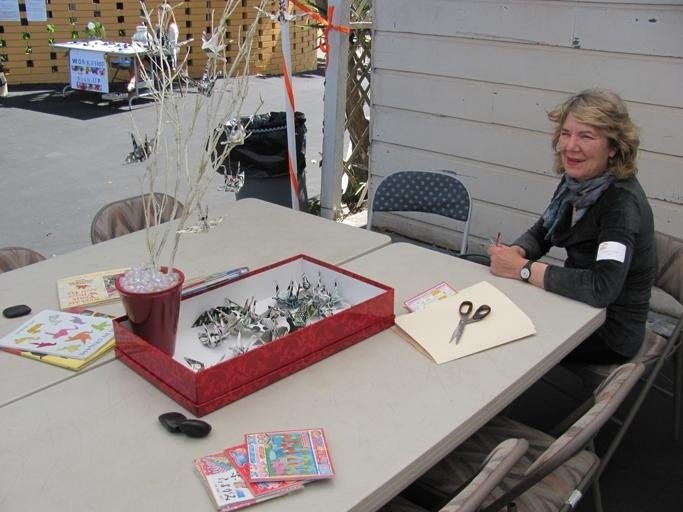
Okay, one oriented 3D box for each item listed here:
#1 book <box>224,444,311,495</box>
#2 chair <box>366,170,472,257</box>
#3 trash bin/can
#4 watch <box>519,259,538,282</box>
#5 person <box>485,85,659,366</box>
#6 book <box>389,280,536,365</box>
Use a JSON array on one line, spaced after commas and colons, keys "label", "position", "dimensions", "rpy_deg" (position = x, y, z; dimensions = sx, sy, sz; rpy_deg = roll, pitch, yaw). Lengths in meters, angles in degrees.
[{"label": "book", "position": [-0.188, 0.491, 1.130], "dimensions": [0.151, 0.176, 0.016], "rpy_deg": [-14, 29, 4]}, {"label": "chair", "position": [0.472, -0.396, 2.903], "dimensions": [0.431, 0.816, 0.540], "rpy_deg": [11, 30, 17]}, {"label": "trash bin/can", "position": [-0.649, -0.820, 4.069], "dimensions": [0.716, 0.811, 0.526], "rpy_deg": [-4, 22, -17]}, {"label": "watch", "position": [0.762, 0.071, 1.897], "dimensions": [0.046, 0.085, 0.079], "rpy_deg": [16, 12, 43]}, {"label": "person", "position": [1.012, -0.012, 2.151], "dimensions": [0.706, 1.401, 0.691], "rpy_deg": [-2, 11, -10]}, {"label": "book", "position": [0.439, 0.233, 1.632], "dimensions": [0.302, 0.042, 0.252], "rpy_deg": [-19, 32, -27]}]
